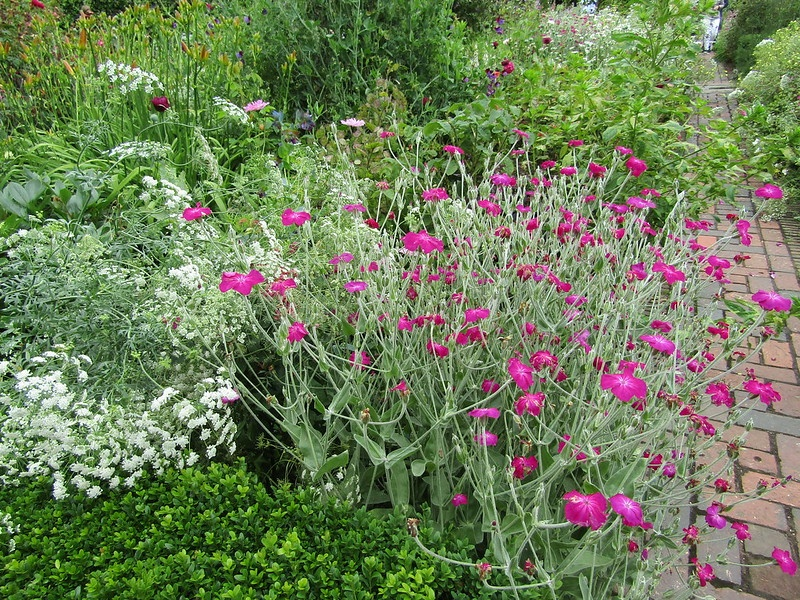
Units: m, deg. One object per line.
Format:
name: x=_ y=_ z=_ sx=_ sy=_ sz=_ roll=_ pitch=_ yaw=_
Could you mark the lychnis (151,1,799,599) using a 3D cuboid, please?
lychnis: x=0.267 y=0.584 z=3.814 sx=2.842 sy=2.018 sz=2.688 roll=34 pitch=39 yaw=0
